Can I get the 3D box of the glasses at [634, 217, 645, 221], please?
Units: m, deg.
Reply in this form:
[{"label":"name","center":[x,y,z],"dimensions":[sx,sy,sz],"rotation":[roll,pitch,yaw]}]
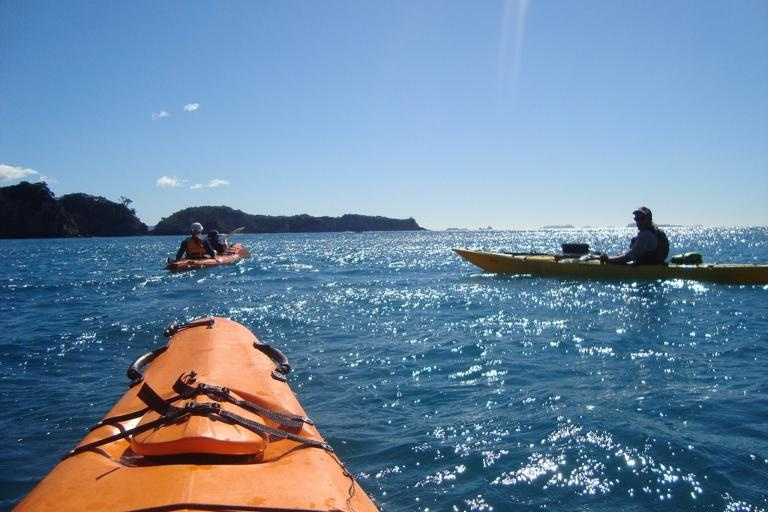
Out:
[{"label":"glasses","center":[6.018,-0.883,11.767],"dimensions":[0.217,0.119,0.083],"rotation":[-5,12,-16]}]
